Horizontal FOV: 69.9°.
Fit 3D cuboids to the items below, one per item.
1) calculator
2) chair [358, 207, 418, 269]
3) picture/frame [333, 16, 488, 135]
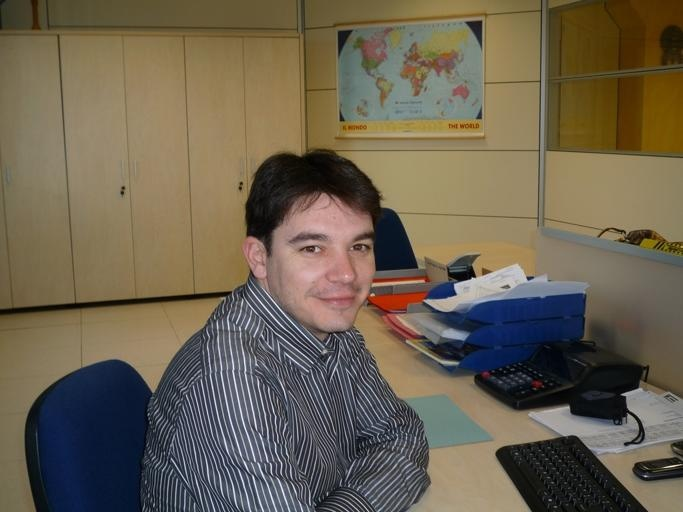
[{"bbox_3d":[0.716,0.393,1.608,0.356,0.121,0.262,-4,6,-14],"label":"calculator"},{"bbox_3d":[0.370,-0.124,3.507,0.378,0.618,0.418,-5,4,-21],"label":"chair"},{"bbox_3d":[0.803,-1.959,5.181,1.206,0.981,0.050,0,5,12],"label":"picture/frame"}]
